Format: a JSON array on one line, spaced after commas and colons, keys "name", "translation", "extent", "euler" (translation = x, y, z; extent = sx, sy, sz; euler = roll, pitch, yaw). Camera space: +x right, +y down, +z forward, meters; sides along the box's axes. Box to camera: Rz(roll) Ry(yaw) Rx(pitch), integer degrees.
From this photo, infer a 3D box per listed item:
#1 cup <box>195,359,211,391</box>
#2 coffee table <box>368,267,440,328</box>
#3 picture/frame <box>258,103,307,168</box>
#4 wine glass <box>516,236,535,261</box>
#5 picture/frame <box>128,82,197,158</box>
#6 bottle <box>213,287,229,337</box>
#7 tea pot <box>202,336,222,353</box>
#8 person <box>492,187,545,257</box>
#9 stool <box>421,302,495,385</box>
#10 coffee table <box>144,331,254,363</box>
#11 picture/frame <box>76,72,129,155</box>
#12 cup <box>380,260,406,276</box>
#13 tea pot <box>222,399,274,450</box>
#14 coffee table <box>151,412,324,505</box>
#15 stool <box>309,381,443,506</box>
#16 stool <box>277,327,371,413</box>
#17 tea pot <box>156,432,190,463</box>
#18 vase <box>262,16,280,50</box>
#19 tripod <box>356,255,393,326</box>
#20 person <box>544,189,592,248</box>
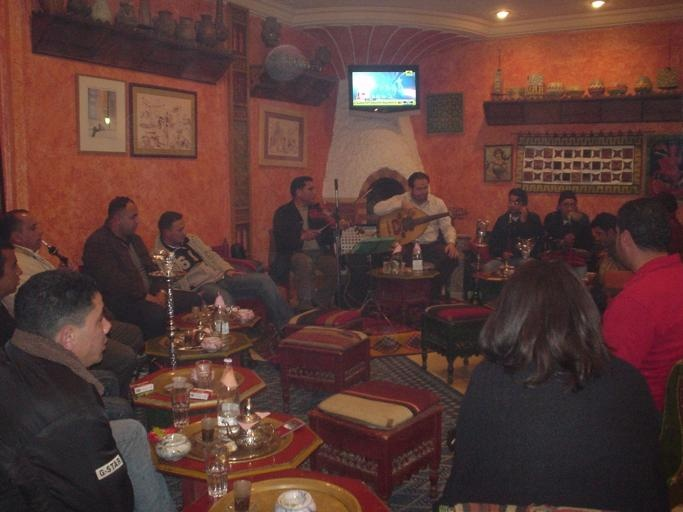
[{"name": "cup", "translation": [-0.951, 0.813, 4.276], "extent": [0.144, 0.171, 0.138], "euler": [1, 3, 0]}, {"name": "coffee table", "translation": [0.760, 0.433, 7.462], "extent": [0.706, 0.527, 0.721], "euler": [-8, 11, -39]}, {"name": "picture/frame", "translation": [-0.849, -1.692, 8.906], "extent": [0.080, 0.809, 0.952], "euler": [6, 8, 37]}, {"name": "wine glass", "translation": [2.196, -0.078, 7.402], "extent": [0.340, 0.288, 0.373], "euler": [0, -3, 5]}, {"name": "picture/frame", "translation": [-1.994, -1.499, 7.019], "extent": [0.038, 0.765, 1.050], "euler": [7, 11, 27]}, {"name": "bottle", "translation": [-1.029, 0.500, 5.249], "extent": [0.112, 0.291, 0.306], "euler": [-5, 9, -14]}, {"name": "tea pot", "translation": [-1.020, 0.697, 4.898], "extent": [0.170, 0.107, 0.117], "euler": [-5, 9, -16]}, {"name": "person", "translation": [2.445, -0.451, 8.485], "extent": [0.655, 1.076, 0.618], "euler": [6, 21, 15]}, {"name": "stool", "translation": [0.969, 0.730, 5.721], "extent": [0.736, 0.770, 0.696], "euler": [0, 1, -19]}, {"name": "coffee table", "translation": [-1.033, 0.753, 4.960], "extent": [0.419, 0.140, 0.430], "euler": [6, 9, 33]}, {"name": "picture/frame", "translation": [-2.450, -1.451, 6.269], "extent": [0.048, 0.973, 0.883], "euler": [2, 4, 25]}, {"name": "cup", "translation": [0.622, 0.148, 7.431], "extent": [0.179, 0.154, 0.207], "euler": [0, -3, 15]}, {"name": "tea pot", "translation": [-0.541, 0.966, 3.587], "extent": [0.239, 0.236, 0.242], "euler": [1, -1, 0]}, {"name": "coffee table", "translation": [-0.564, 1.106, 3.460], "extent": [0.580, 0.432, 0.599], "euler": [7, 12, 35]}, {"name": "stool", "translation": [0.204, 1.013, 4.052], "extent": [0.706, 0.753, 0.687], "euler": [-12, 16, -43]}, {"name": "stool", "translation": [-0.165, 0.817, 5.121], "extent": [0.609, 0.687, 0.660], "euler": [5, 11, 25]}, {"name": "tea pot", "translation": [-0.927, 1.053, 3.435], "extent": [0.133, 0.076, 0.136], "euler": [2, 0, 0]}, {"name": "vase", "translation": [-0.947, -2.933, 8.131], "extent": [0.239, 0.363, 0.335], "euler": [-6, 9, -20]}, {"name": "tripod", "translation": [0.412, 0.497, 7.701], "extent": [0.578, 0.772, 0.537], "euler": [-2, 9, -6]}, {"name": "person", "translation": [3.136, -0.483, 8.574], "extent": [0.660, 0.790, 0.340], "euler": [2, 10, 31]}]
